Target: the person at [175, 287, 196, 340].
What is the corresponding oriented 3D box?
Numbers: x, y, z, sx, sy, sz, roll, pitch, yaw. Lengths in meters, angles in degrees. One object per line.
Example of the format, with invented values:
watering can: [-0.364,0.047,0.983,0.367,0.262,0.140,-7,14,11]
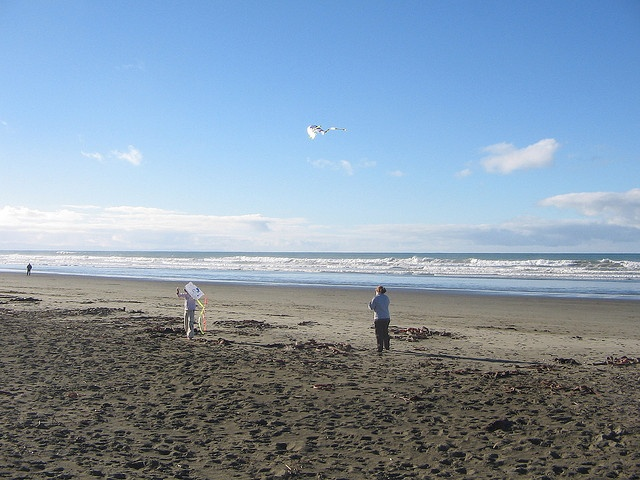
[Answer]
person: [-3.717,2.039,13.079,0.464,1.313,1.101,0,-1,-16]
